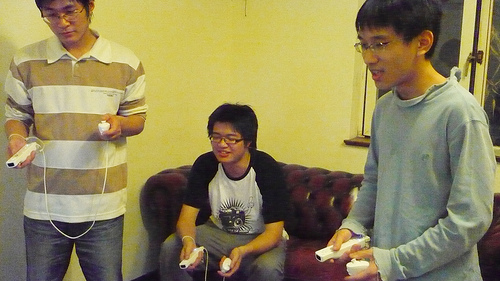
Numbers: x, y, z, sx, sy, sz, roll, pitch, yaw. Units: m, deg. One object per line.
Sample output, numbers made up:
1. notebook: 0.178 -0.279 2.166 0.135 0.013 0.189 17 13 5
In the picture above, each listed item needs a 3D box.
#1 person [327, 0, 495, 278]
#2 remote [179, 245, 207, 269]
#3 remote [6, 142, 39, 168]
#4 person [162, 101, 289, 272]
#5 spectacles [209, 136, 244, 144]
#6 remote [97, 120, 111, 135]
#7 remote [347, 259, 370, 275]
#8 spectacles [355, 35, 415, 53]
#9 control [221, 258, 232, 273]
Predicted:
1. person: 0.531 0.004 1.476 0.560 0.783 0.222 -4 1 8
2. remote: -0.255 0.523 1.858 0.121 0.096 0.053 -5 1 -25
3. remote: -0.892 0.053 1.653 0.124 0.106 0.066 -5 1 -38
4. person: -0.089 0.241 1.948 0.524 0.754 0.188 -5 1 -11
5. spectacles: -0.104 -0.005 1.887 0.151 0.033 0.032 -4 1 -1
6. remote: -0.570 -0.055 1.675 0.055 0.048 0.052 9 28 31
7. remote: 0.373 0.434 1.451 0.074 0.037 0.039 -10 3 -1
8. spectacles: 0.442 -0.332 1.470 0.100 0.051 0.222 -5 1 -34
9. control: -0.106 0.550 1.858 0.042 0.053 0.051 25 -21 -22
